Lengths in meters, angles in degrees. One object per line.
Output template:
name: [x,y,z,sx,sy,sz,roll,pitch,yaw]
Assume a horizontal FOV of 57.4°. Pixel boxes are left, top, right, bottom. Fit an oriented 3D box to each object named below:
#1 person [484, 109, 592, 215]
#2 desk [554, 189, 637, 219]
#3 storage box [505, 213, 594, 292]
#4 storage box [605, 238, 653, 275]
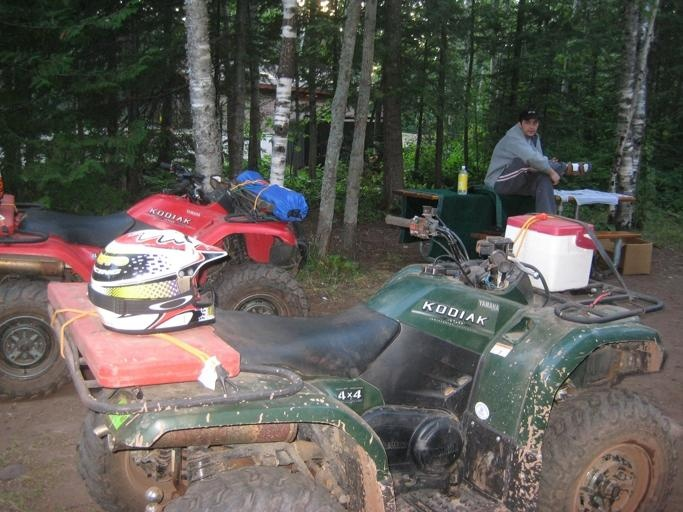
person: [2.866,-1.439,9.311,0.835,1.488,1.391,-3,12,-25]
desk: [5.219,-1.031,12.488,1.212,0.466,1.743,0,14,-2]
storage box: [1.663,-0.026,4.999,0.450,0.505,0.697,-2,10,-20]
storage box: [5.167,0.035,11.405,1.037,0.547,1.074,1,1,20]
